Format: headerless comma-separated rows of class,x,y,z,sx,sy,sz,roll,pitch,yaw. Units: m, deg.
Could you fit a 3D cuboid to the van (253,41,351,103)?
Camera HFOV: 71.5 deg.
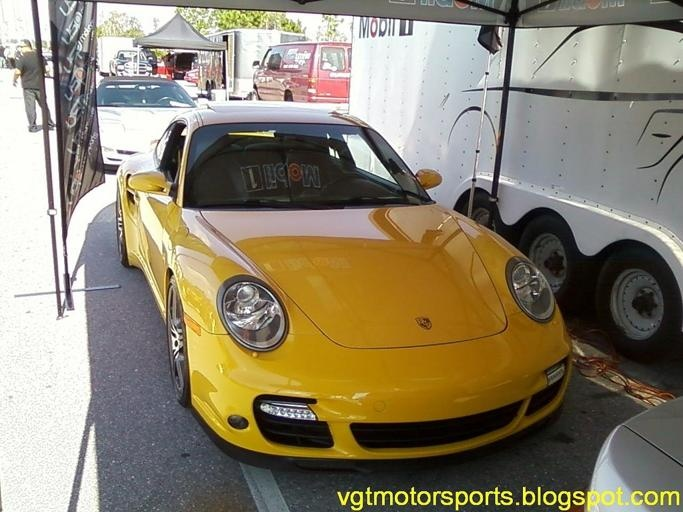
van,-1.322,-6.020,15.655,3.449,1.917,1.173,18,25,42

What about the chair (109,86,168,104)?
chair,-4.591,-3.560,10.575,0.654,0.312,1.061,-6,25,-23
